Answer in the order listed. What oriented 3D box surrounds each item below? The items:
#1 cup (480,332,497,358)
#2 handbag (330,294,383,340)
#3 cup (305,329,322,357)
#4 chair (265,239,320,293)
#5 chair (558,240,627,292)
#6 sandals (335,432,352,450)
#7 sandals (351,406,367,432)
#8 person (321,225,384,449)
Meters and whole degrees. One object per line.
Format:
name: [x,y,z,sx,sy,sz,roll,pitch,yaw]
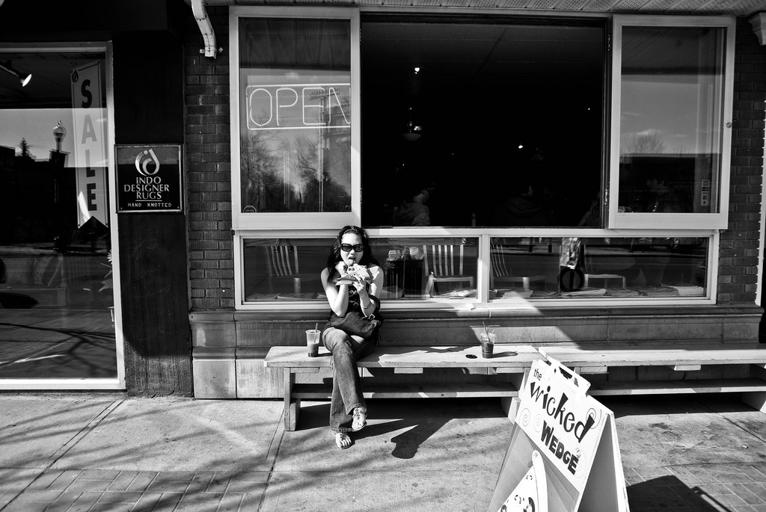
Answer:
cup: [1.068,0.890,6.845,0.122,0.236,0.425,-1,5,8]
handbag: [-0.283,0.672,6.662,0.392,0.308,0.153,15,-19,2]
cup: [-0.709,0.869,6.650,0.112,0.257,0.069,-2,5,-7]
chair: [-0.969,0.091,7.412,0.515,0.870,0.616,1,11,10]
chair: [2.363,0.118,7.405,0.702,0.574,0.303,6,0,12]
sandals: [-0.379,1.766,6.355,0.101,0.080,0.187,1,7,-5]
sandals: [-0.236,1.530,6.251,0.137,0.123,0.275,0,-10,-1]
person: [-0.331,0.763,6.547,0.615,2.094,0.929,-1,5,3]
